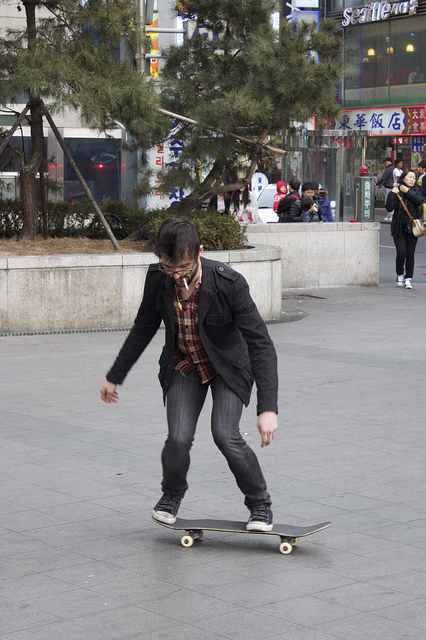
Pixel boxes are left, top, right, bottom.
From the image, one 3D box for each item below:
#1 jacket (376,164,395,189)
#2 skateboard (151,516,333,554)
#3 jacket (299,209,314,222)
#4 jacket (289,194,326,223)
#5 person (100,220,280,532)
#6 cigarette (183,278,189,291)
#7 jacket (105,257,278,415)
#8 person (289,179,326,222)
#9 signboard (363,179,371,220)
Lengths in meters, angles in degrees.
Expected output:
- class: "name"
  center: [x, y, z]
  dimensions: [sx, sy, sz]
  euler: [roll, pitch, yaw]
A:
- class: "jacket"
  center: [5.630, -4.698, 30.205]
  dimensions: [0.495, 0.778, 1.483]
  euler: [1, 6, 10]
- class: "skateboard"
  center: [0.114, 0.931, 3.988]
  dimensions: [0.480, 0.090, 0.130]
  euler: [2, 10, 15]
- class: "jacket"
  center: [1.634, -1.803, 16.340]
  dimensions: [0.241, 0.367, 0.183]
  euler: [-1, 2, -1]
- class: "jacket"
  center: [1.660, -1.976, 16.536]
  dimensions: [0.564, 0.534, 0.313]
  euler: [2, -5, -30]
- class: "person"
  center: [-0.107, 0.247, 3.827]
  dimensions: [0.757, 1.306, 0.588]
  euler: [1, 5, 10]
- class: "cigarette"
  center: [-0.106, -0.142, 3.661]
  dimensions: [0.010, 0.042, 0.002]
  euler: [-13, -3, 1]
- class: "jacket"
  center: [-0.041, 0.076, 3.890]
  dimensions: [0.734, 0.653, 0.386]
  euler: [6, 16, 23]
- class: "person"
  center: [1.667, -2.108, 16.473]
  dimensions: [0.505, 0.769, 0.473]
  euler: [-2, 9, 34]
- class: "signboard"
  center: [2.778, -2.178, 16.817]
  dimensions: [0.130, 0.708, 0.554]
  euler: [1, 5, 12]
